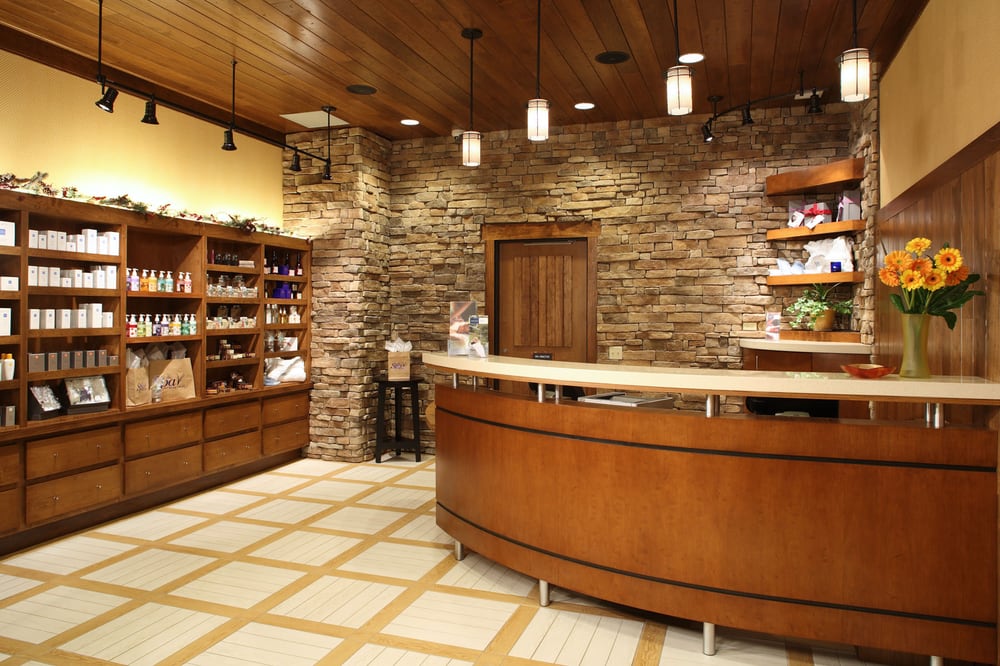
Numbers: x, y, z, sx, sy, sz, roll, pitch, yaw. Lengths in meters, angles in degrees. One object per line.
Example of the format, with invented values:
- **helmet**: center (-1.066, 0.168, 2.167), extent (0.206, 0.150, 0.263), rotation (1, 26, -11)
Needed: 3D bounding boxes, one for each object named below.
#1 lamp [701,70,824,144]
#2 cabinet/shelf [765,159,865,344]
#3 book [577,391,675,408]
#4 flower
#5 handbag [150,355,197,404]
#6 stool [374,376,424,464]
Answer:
- **lamp**: center (2.710, -2.325, 7.447), extent (1.237, 0.643, 0.974), rotation (5, 13, 18)
- **cabinet/shelf**: center (3.312, -0.856, 7.389), extent (0.693, 1.838, 1.365), rotation (-4, 15, -17)
- **book**: center (0.947, 0.494, 5.338), extent (0.391, 0.069, 0.357), rotation (0, -1, 44)
- **flower**: center (2.810, -0.356, 4.945), extent (0.810, 0.517, 0.699), rotation (11, 14, 38)
- **handbag**: center (-3.331, 0.480, 7.295), extent (0.218, 0.463, 0.616), rotation (-4, -4, 33)
- **stool**: center (-1.246, 1.030, 8.917), extent (0.588, 1.081, 0.752), rotation (-1, 15, -6)
